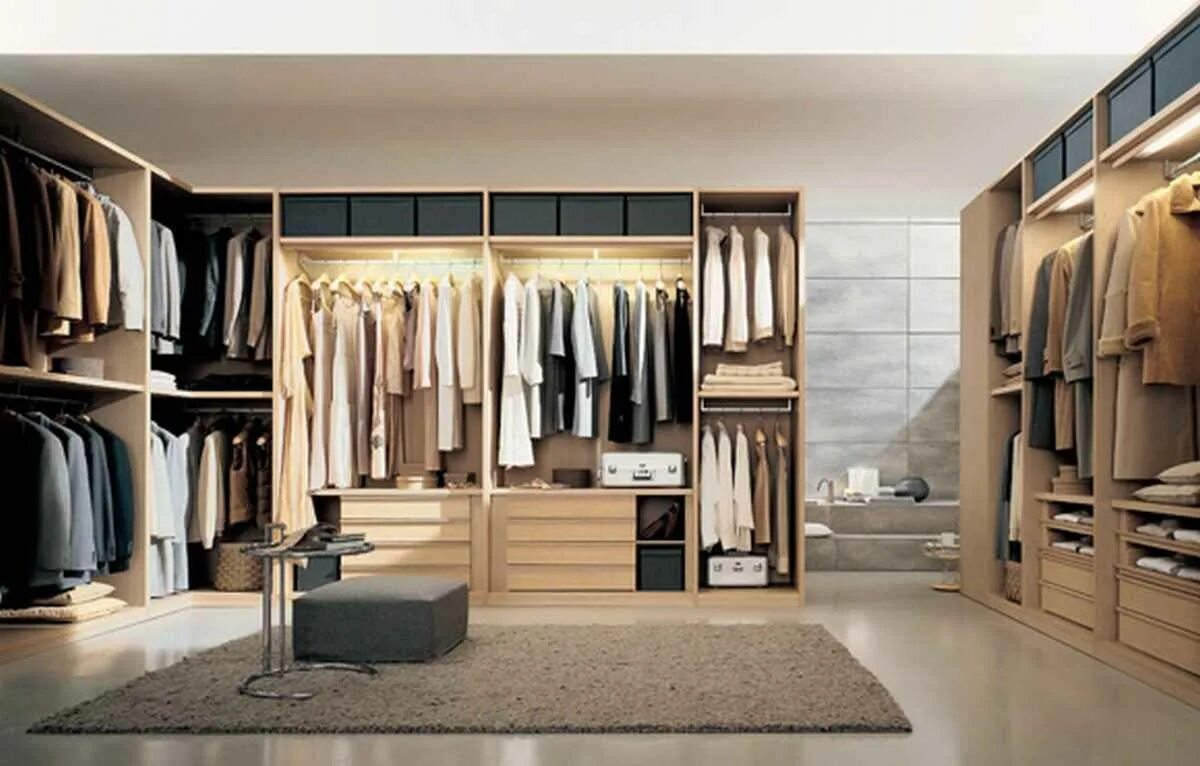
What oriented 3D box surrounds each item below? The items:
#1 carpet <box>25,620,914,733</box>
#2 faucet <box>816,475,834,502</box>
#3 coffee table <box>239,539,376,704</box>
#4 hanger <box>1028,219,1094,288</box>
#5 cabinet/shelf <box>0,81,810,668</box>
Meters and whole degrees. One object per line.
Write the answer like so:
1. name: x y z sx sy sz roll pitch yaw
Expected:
1. carpet: -0.590 1.929 6.582 4.904 0.096 1.151 0 9 0
2. faucet: 2.446 1.109 10.957 0.197 0.208 0.208 -4 10 -19
3. coffee table: -2.005 1.482 6.869 0.822 0.917 0.909 7 -13 -30
4. hanger: 3.748 -1.075 8.155 0.331 0.567 0.596 -1 4 -20
5. cabinet/shelf: -0.910 0.029 8.920 5.302 3.449 1.280 0 9 5
